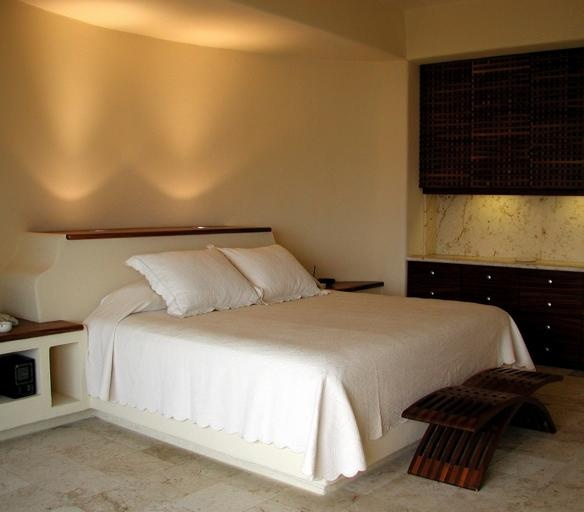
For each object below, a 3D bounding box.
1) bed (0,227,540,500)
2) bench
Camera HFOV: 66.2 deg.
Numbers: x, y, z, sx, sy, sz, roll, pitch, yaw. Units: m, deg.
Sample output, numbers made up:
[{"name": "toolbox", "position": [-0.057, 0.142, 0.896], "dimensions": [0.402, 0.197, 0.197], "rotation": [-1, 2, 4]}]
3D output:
[{"name": "bed", "position": [-0.420, 0.590, 2.812], "dimensions": [2.072, 0.783, 1.994], "rotation": [4, 8, 40]}, {"name": "bench", "position": [1.061, 0.935, 2.501], "dimensions": [1.182, 0.423, 0.414], "rotation": [-1, 1, -45]}]
